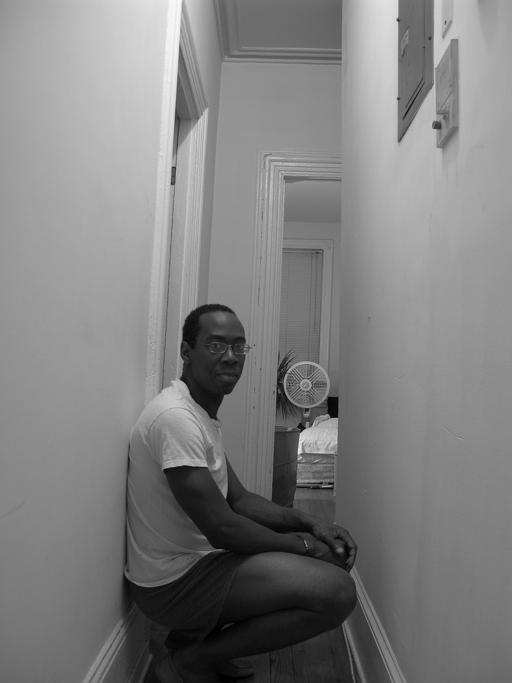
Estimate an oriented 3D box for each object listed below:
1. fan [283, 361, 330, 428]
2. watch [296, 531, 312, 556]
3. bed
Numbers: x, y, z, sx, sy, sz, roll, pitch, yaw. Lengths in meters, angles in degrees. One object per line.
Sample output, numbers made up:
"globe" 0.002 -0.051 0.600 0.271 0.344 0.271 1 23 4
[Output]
"fan" 0.674 0.829 6.925 0.581 0.358 1.207 1 48 6
"watch" 0.132 0.538 1.378 0.042 0.019 0.031 24 6 39
"bed" 0.658 1.088 5.532 0.443 0.540 0.822 1 6 1
